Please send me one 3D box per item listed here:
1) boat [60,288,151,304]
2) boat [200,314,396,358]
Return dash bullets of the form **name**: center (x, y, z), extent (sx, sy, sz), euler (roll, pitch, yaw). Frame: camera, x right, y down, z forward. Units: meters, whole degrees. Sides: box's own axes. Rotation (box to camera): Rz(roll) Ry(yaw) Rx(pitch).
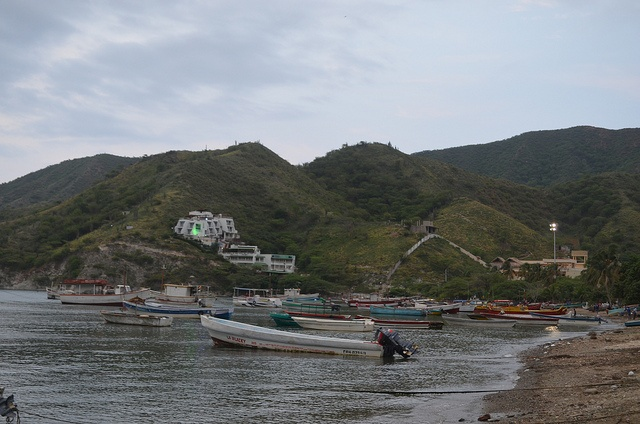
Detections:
- **boat**: center (-39.625, 15.576, 150.849), extent (18.568, 2.410, 3.510), euler (-2, -6, 19)
- **boat**: center (-4.355, 16.386, 107.436), extent (22.548, 4.140, 1.456), euler (2, 6, 7)
